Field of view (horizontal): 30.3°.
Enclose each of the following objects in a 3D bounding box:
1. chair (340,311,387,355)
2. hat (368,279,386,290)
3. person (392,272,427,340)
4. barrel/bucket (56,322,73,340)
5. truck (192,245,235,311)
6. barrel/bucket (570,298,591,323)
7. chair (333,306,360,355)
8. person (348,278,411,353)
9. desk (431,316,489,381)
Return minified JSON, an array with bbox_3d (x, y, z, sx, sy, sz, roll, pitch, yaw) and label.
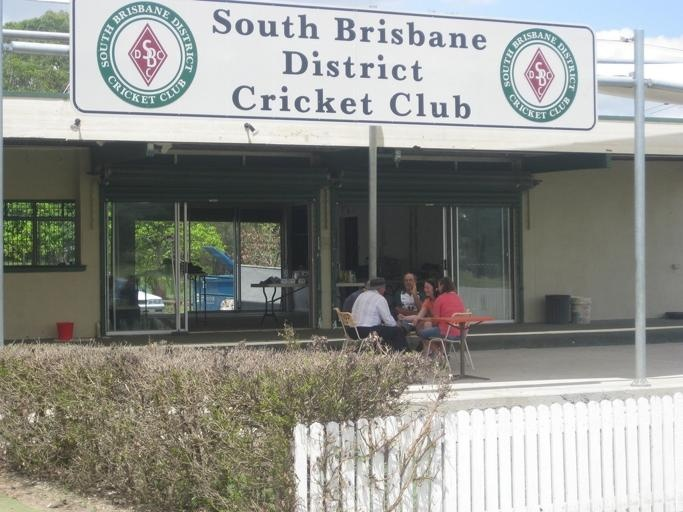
[{"bbox_3d":[0.205,1.068,16.850,0.418,0.729,0.374,-14,-8,30],"label":"chair"},{"bbox_3d":[0.477,0.373,16.934,0.174,0.170,0.129,-9,12,-34],"label":"hat"},{"bbox_3d":[1.016,0.736,19.060,0.334,0.984,0.519,1,9,6],"label":"person"},{"bbox_3d":[-4.355,1.194,19.961,0.216,0.254,0.237,1,-7,0],"label":"barrel/bucket"},{"bbox_3d":[-2.698,0.593,27.395,1.085,1.618,0.833,0,-1,-11],"label":"truck"},{"bbox_3d":[4.343,0.989,22.846,0.328,0.443,0.373,0,-3,-10],"label":"barrel/bucket"},{"bbox_3d":[0.065,1.032,16.897,0.429,0.764,0.385,-1,1,-24],"label":"chair"},{"bbox_3d":[0.520,0.861,17.091,0.630,1.197,0.653,-8,14,-10],"label":"person"},{"bbox_3d":[1.586,1.188,16.985,0.786,0.917,1.223,6,10,-1],"label":"desk"}]
